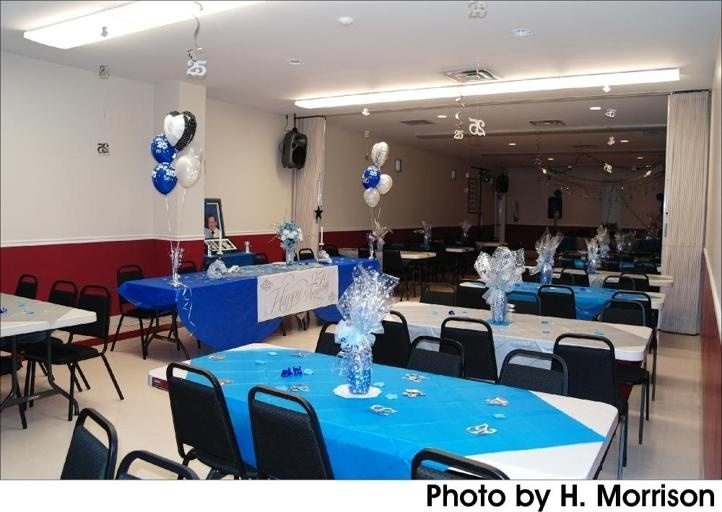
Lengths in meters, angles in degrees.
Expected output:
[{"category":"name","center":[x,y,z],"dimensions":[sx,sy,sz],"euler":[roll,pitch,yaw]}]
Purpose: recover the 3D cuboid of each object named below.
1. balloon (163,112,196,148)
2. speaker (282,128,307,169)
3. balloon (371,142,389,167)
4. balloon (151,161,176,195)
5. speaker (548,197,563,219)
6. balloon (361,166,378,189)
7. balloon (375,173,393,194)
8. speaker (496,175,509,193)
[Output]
[{"category":"balloon","center":[-2.059,-1.478,5.815],"dimensions":[0.403,0.412,0.197],"euler":[10,20,36]},{"category":"speaker","center":[-1.387,-2.224,10.199],"dimensions":[0.535,0.803,0.406],"euler":[1,5,-11]},{"category":"balloon","center":[0.311,-1.789,8.714],"dimensions":[0.242,0.440,0.653],"euler":[2,5,-2]},{"category":"balloon","center":[-2.377,-0.937,6.028],"dimensions":[0.301,0.379,0.275],"euler":[5,6,27]},{"category":"speaker","center":[7.358,-1.842,18.921],"dimensions":[0.516,0.866,0.200],"euler":[4,6,18]},{"category":"balloon","center":[0.133,-1.371,8.689],"dimensions":[0.329,0.397,0.327],"euler":[-1,4,-34]},{"category":"balloon","center":[0.391,-1.325,9.018],"dimensions":[0.253,0.335,0.827],"euler":[3,5,7]},{"category":"speaker","center":[5.461,-2.818,19.419],"dimensions":[0.431,0.762,0.741],"euler":[3,5,16]}]
